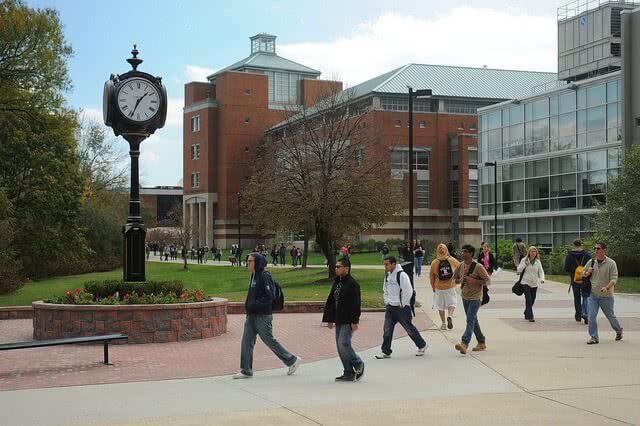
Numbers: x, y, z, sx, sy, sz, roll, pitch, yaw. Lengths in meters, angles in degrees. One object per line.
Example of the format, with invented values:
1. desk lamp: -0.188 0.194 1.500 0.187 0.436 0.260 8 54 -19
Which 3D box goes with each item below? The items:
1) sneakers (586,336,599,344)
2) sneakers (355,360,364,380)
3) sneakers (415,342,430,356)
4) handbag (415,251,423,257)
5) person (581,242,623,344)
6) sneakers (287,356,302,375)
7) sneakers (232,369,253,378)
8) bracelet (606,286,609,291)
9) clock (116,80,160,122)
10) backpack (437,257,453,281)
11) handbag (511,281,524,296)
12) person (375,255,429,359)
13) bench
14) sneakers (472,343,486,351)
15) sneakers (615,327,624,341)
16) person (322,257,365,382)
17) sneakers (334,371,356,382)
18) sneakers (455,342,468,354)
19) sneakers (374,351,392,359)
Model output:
1. sneakers: 7.623 3.564 18.781 0.390 0.144 0.130 2 -5 -14
2. sneakers: 0.976 3.806 16.223 0.177 0.387 0.147 31 -24 -36
3. sneakers: 2.796 3.661 18.074 0.203 0.445 0.148 17 39 -14
4. handbag: 5.805 2.308 39.005 0.433 0.362 0.404 0 -18 2
5. person: 8.104 2.233 19.324 0.989 2.825 1.616 -3 -3 23
6. sneakers: -0.613 3.750 16.568 0.254 0.548 0.195 19 37 1
7. sneakers: -1.857 3.919 16.412 0.484 0.181 0.168 6 -12 -6
8. bracelet: 8.121 2.104 18.952 0.063 0.080 0.164 -4 -3 36
9. clock: -5.745 -3.504 21.173 1.473 1.302 0.192 2 -8 -18
10. backpack: 3.886 1.750 20.794 0.421 0.657 0.234 -2 -2 8
11. handbag: 6.548 2.453 22.119 0.314 0.470 0.745 -2 -3 14
12. person: 2.109 2.489 18.022 1.293 2.690 0.822 -1 -2 -9
13. bench: -6.913 3.572 17.834 2.957 0.729 2.661 0 -3 -31
14. sneakers: 4.378 3.642 18.362 0.442 0.167 0.150 -1 -4 0
15. sneakers: 8.523 3.464 19.136 0.156 0.171 0.443 3 2 13
16. person: 0.608 2.554 16.622 0.933 2.942 1.043 -2 -2 3
17. sneakers: 0.646 3.911 16.112 0.464 0.170 0.194 1 -5 1
18. sneakers: 3.723 3.563 17.845 0.255 0.367 0.187 -38 5 -38
19. sneakers: 1.698 3.780 17.917 0.422 0.162 0.144 0 -10 20
